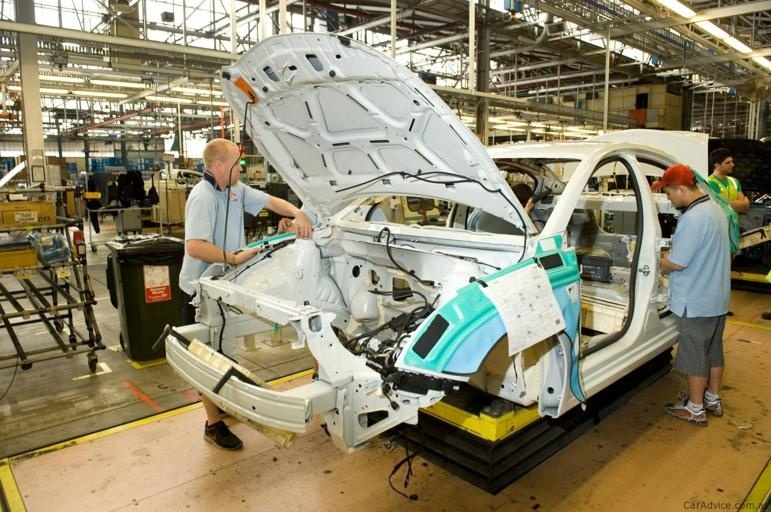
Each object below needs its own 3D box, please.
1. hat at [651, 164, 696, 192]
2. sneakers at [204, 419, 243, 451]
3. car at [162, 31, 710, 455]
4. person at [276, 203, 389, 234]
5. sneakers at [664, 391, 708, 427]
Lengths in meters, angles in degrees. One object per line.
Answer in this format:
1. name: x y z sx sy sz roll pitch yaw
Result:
1. hat: 2.885 -0.780 5.323 0.244 0.204 0.376 -27 22 -33
2. sneakers: -1.538 1.679 5.035 0.416 0.181 0.186 15 14 22
3. car: 1.156 -0.444 5.927 6.325 2.866 3.489 -12 14 -37
4. person: -0.530 -0.381 5.202 0.722 0.326 0.438 -4 6 -20
5. sneakers: 3.041 1.581 5.421 0.190 0.236 0.469 -15 17 -28
